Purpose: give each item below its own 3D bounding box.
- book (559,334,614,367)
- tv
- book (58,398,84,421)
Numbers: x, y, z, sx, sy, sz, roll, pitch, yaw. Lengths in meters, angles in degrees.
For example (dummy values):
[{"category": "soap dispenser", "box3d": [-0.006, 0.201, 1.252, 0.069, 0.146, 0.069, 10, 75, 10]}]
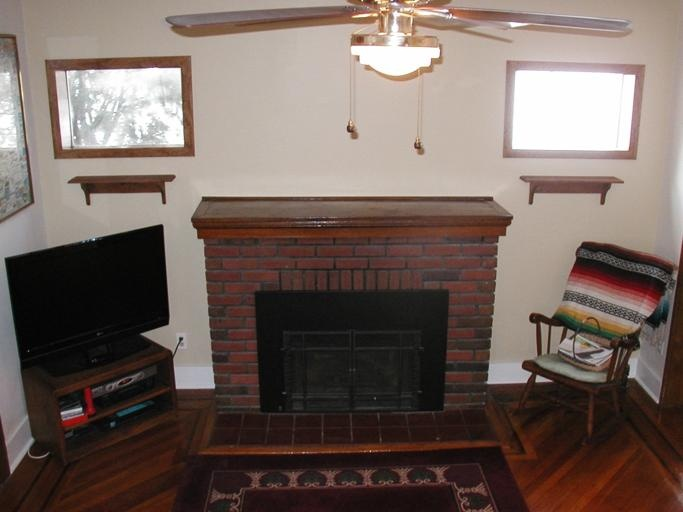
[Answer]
[{"category": "book", "box3d": [1.573, 0.620, 3.638, 0.307, 0.182, 0.160, 6, 17, 20]}, {"category": "tv", "box3d": [-1.554, 0.296, 3.421, 1.016, 0.670, 0.118, -14, 26, -35]}, {"category": "book", "box3d": [-1.624, 0.929, 3.390, 0.122, 0.108, 0.080, -9, 19, -30]}]
